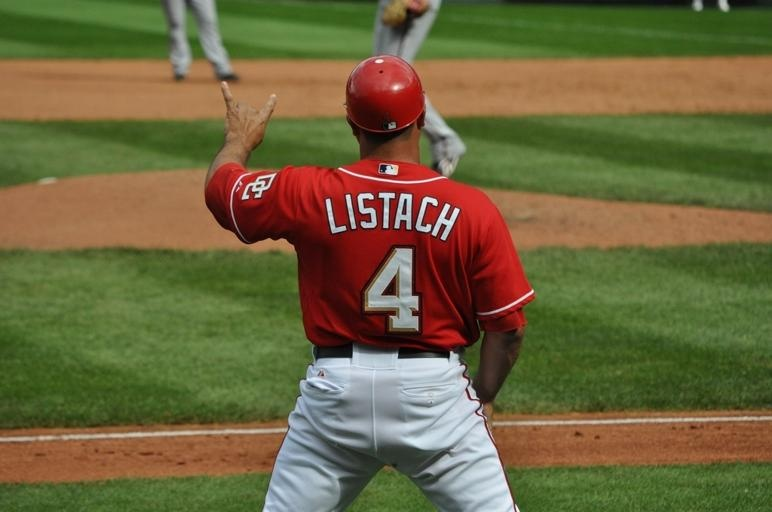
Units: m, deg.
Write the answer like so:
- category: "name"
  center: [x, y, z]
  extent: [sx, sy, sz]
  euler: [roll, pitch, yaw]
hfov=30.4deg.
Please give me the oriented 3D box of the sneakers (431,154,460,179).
- category: "sneakers"
  center: [0.644, -0.978, 15.094]
  extent: [0.173, 0.234, 0.535]
  euler: [0, 4, 8]
